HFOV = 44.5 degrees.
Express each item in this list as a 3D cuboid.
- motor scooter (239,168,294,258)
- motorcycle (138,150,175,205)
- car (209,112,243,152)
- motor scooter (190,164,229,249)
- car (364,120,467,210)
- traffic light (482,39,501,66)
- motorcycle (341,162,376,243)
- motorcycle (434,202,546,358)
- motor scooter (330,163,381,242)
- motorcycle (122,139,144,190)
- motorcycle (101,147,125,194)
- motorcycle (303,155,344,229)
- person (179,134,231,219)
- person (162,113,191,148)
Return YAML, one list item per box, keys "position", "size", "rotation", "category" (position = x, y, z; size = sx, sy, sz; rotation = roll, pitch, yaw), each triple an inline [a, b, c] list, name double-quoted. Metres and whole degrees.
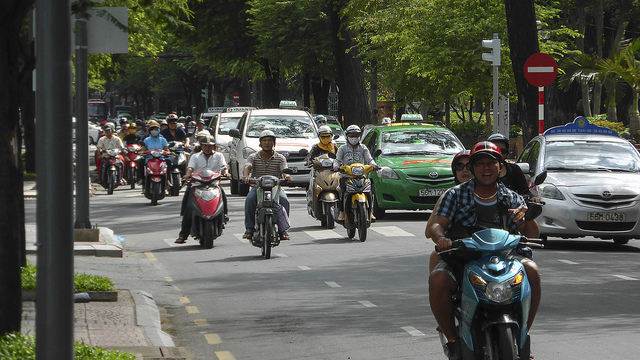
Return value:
- position: [-1.026, 0.653, 15.480]
  size: [0.669, 1.736, 0.701]
  rotation: [0, 4, 29]
  category: "motor scooter"
- position: [-5.050, -0.101, 23.998]
  size: [0.617, 1.611, 1.271]
  rotation: [-2, 3, -6]
  category: "motorcycle"
- position: [-3.627, -1.978, 29.599]
  size: [1.116, 0.926, 1.831]
  rotation: [-1, 0, -7]
  category: "car"
- position: [-2.346, 0.597, 17.034]
  size: [0.714, 1.141, 1.694]
  rotation: [-1, 0, -5]
  category: "motor scooter"
- position: [2.418, -0.388, 20.278]
  size: [1.757, 1.358, 2.956]
  rotation: [-1, -2, -7]
  category: "car"
- position: [4.793, -3.604, 21.954]
  size: [0.462, 0.849, 1.309]
  rotation: [-1, 3, 11]
  category: "traffic light"
- position: [0.799, 0.379, 18.210]
  size: [1.013, 1.635, 2.760]
  rotation: [-2, 4, -5]
  category: "motorcycle"
- position: [1.825, 1.165, 8.267]
  size: [0.794, 1.320, 0.900]
  rotation: [0, 4, 30]
  category: "motorcycle"
- position: [0.804, 0.480, 17.359]
  size: [0.772, 1.710, 0.880]
  rotation: [-1, 3, 2]
  category: "motor scooter"
- position: [-7.112, -0.589, 29.592]
  size: [1.434, 1.676, 2.776]
  rotation: [0, -2, -14]
  category: "motorcycle"
- position: [-7.289, -0.346, 27.549]
  size: [0.743, 1.575, 1.349]
  rotation: [-3, 4, -15]
  category: "motorcycle"
- position: [0.097, 0.301, 18.427]
  size: [0.783, 1.792, 1.868]
  rotation: [-2, 3, -4]
  category: "motorcycle"
- position: [-2.594, -0.349, 17.947]
  size: [1.192, 1.237, 1.987]
  rotation: [-1, -3, -7]
  category: "person"
- position: [-5.018, -1.742, 27.551]
  size: [0.953, 0.723, 1.311]
  rotation: [-3, 5, -10]
  category: "person"
